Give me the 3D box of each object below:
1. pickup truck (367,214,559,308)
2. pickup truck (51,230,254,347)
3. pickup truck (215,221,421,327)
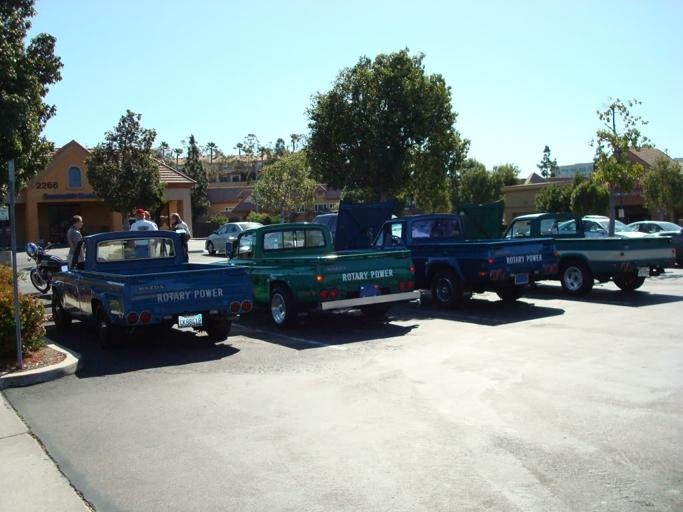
[{"bbox_3d":[2.826,0.069,14.297,2.031,1.962,3.783,-4,8,-39],"label":"pickup truck"},{"bbox_3d":[-3.776,0.543,10.753,4.169,1.873,2.261,-2,0,44],"label":"pickup truck"},{"bbox_3d":[-0.949,0.353,12.338,2.076,1.946,4.236,-3,7,-34],"label":"pickup truck"}]
